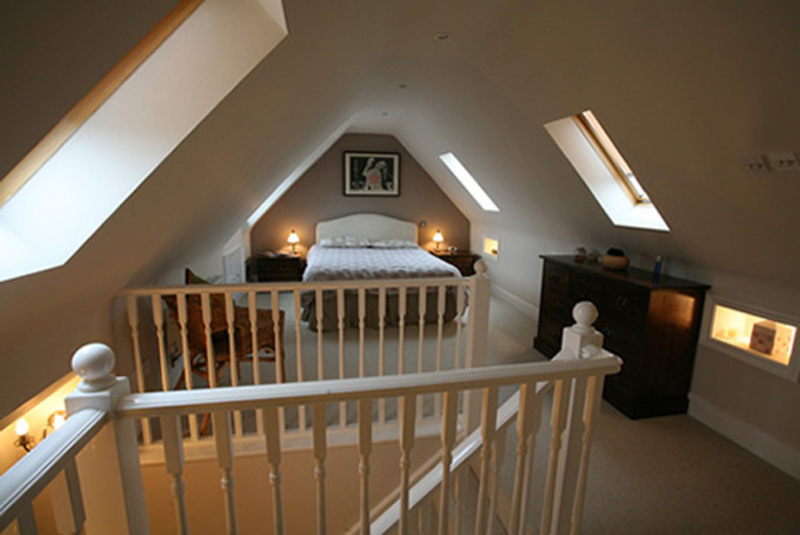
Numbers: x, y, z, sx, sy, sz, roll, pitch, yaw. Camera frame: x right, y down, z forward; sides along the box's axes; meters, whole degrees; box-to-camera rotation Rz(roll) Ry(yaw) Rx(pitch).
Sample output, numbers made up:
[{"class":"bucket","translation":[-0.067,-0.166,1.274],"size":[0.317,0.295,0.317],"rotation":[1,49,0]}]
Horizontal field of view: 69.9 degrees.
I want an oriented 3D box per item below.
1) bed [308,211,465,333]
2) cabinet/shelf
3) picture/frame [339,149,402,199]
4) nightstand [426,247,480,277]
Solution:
[{"class":"bed","translation":[-0.412,-0.017,7.358],"size":[1.430,0.910,1.964],"rotation":[-2,12,-10]},{"class":"cabinet/shelf","translation":[1.935,0.524,5.303],"size":[0.614,1.125,1.492],"rotation":[-3,14,-20]},{"class":"picture/frame","translation":[-0.478,-1.452,8.731],"size":[0.742,0.541,0.055],"rotation":[-2,12,-16]},{"class":"nightstand","translation":[0.865,-0.127,8.718],"size":[0.559,0.555,0.466],"rotation":[-1,14,-3]}]
